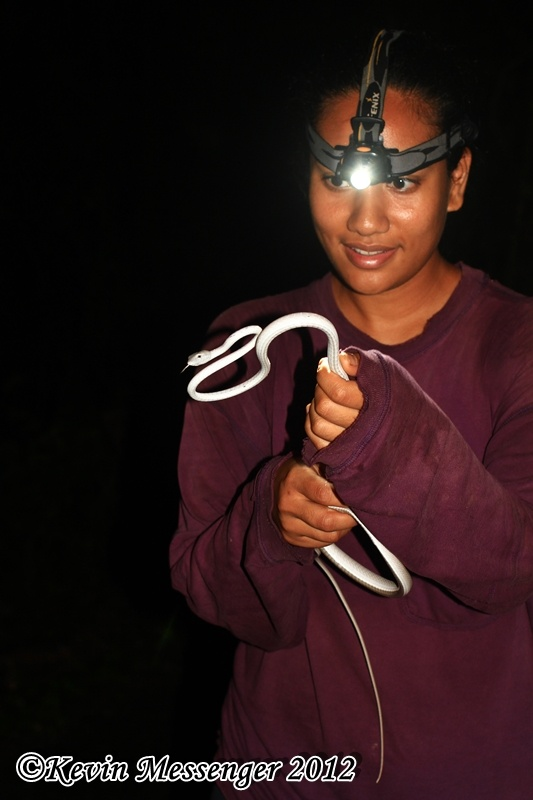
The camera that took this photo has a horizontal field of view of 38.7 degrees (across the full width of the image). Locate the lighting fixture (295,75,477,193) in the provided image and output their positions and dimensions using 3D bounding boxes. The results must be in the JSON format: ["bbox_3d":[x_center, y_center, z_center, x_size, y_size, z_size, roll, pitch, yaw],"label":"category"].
[{"bbox_3d":[0.263,-0.569,1.751,0.394,0.156,0.375,0,11,3],"label":"lighting fixture"}]
